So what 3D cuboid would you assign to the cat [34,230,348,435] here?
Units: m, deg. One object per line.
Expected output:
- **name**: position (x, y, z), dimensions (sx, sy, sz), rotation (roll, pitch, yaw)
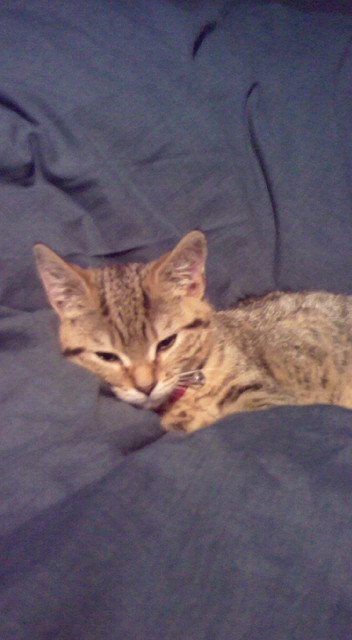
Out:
- **cat**: position (0.015, 0.033, 0.942), dimensions (0.603, 0.280, 0.210), rotation (2, -13, -34)
